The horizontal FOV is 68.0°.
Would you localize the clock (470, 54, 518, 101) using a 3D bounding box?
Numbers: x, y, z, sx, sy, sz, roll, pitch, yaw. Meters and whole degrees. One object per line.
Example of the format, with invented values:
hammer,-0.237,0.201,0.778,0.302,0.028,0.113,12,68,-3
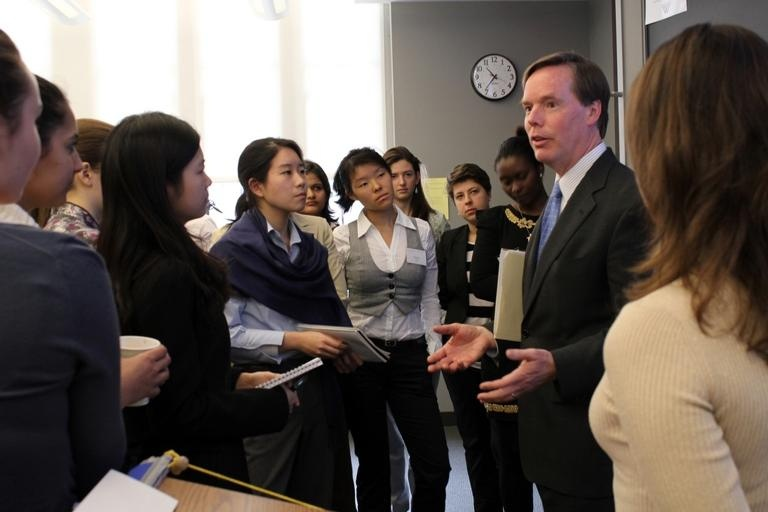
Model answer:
clock,0.923,-1.537,4.862,0.395,0.409,0.052,0,-2,-4
